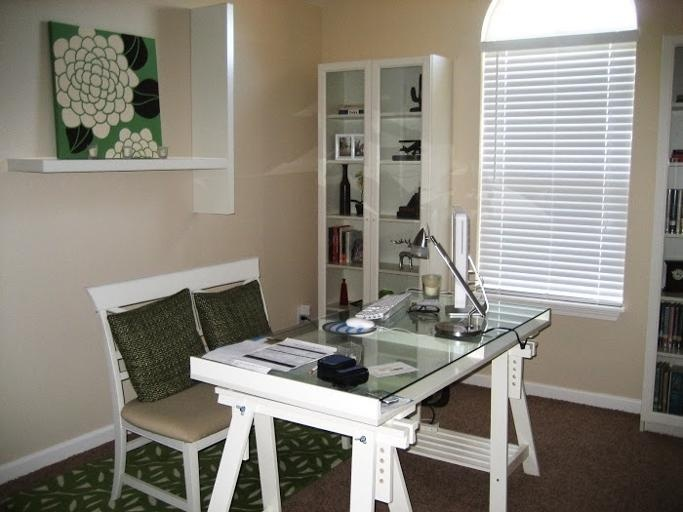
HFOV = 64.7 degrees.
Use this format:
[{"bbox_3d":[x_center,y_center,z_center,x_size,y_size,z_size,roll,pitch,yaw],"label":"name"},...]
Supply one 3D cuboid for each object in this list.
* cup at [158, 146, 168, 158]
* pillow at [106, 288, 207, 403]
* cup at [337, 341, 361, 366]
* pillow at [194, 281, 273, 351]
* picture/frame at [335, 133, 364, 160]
[{"bbox_3d":[-1.166,-0.680,3.528,0.075,0.092,0.076,-1,3,0],"label":"cup"},{"bbox_3d":[-1.032,0.496,3.001,0.276,0.524,0.559,9,17,34],"label":"pillow"},{"bbox_3d":[0.043,0.429,2.383,0.063,0.121,0.063,-2,10,0],"label":"cup"},{"bbox_3d":[-0.675,0.368,3.389,0.126,0.436,0.446,-16,-8,42],"label":"pillow"},{"bbox_3d":[0.080,-0.925,4.478,0.212,0.171,0.016,2,5,23],"label":"picture/frame"}]
